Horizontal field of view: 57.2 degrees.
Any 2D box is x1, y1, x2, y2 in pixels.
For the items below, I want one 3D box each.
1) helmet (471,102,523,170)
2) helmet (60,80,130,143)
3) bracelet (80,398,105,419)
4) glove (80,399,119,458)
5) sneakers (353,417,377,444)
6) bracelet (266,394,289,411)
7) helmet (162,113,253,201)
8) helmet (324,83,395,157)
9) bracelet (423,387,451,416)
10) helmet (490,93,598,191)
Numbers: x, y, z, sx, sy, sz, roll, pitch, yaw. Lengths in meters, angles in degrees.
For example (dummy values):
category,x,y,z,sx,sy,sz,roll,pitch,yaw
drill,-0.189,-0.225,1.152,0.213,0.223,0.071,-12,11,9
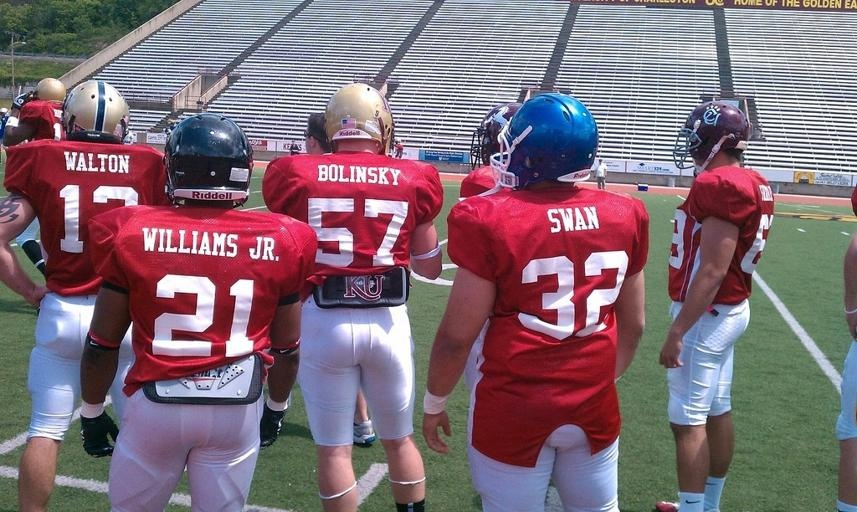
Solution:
category,x,y,z,sx,sy,sz,roll,pitch,yaw
helmet,0.547,-0.830,5.425,0.530,0.459,0.376,3,23,10
helmet,-2.254,-0.941,5.345,0.395,0.395,0.464,0,45,-26
bracelet,-2.038,0.938,4.802,0.134,0.091,0.124,0,6,0
glove,-2.012,1.067,4.873,0.312,0.362,0.154,-6,-16,6
sneakers,-0.535,1.400,6.230,0.128,0.142,0.316,-1,0,-29
bracelet,-0.958,0.947,5.044,0.109,0.063,0.101,10,0,6
helmet,-1.287,-0.568,4.657,0.475,0.442,0.561,3,32,-17
helmet,-0.453,-0.955,5.265,0.446,0.412,0.522,1,12,9
bracelet,0.045,0.881,4.719,0.152,0.128,0.140,2,5,2
helmet,0.687,-0.665,4.559,0.661,0.467,0.474,6,21,21
